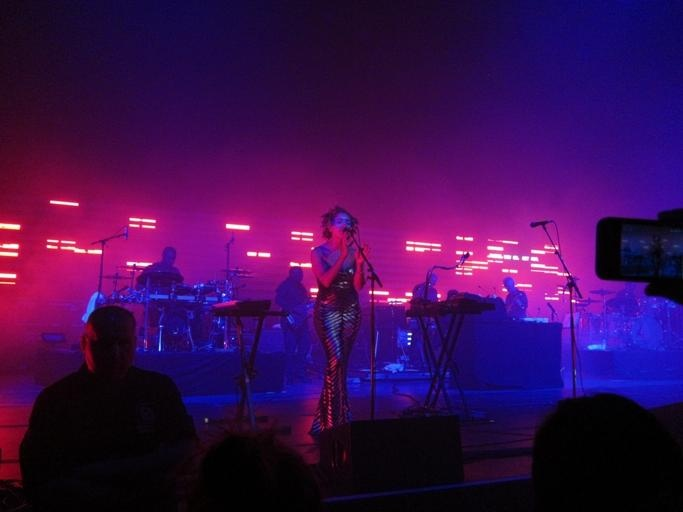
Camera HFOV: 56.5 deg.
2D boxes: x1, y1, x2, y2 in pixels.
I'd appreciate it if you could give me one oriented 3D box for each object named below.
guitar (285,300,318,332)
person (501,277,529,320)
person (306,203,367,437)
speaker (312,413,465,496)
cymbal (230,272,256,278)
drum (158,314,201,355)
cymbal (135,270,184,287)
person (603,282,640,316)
[{"bbox_3d":[-0.736,1.095,12.618,0.239,0.482,0.827,-29,6,33],"label":"guitar"},{"bbox_3d":[3.984,0.939,14.580,0.515,0.906,1.844,1,-2,15],"label":"person"},{"bbox_3d":[-0.051,0.827,7.993,0.674,2.919,0.429,1,-2,9],"label":"person"},{"bbox_3d":[0.589,2.043,6.573,1.337,0.820,0.224,2,-2,-4],"label":"speaker"},{"bbox_3d":[-2.222,0.410,14.329,0.359,0.150,0.367,0,-4,-13],"label":"cymbal"},{"bbox_3d":[-3.115,1.490,12.148,0.550,0.777,0.746,6,-16,-25],"label":"drum"},{"bbox_3d":[-3.386,0.441,11.861,0.833,0.317,0.674,2,-2,-11],"label":"cymbal"},{"bbox_3d":[6.766,1.041,15.217,0.728,0.758,1.042,1,-2,29],"label":"person"}]
